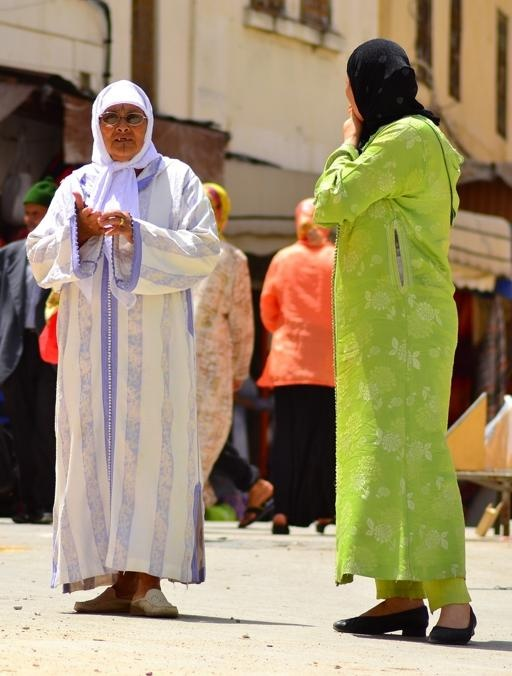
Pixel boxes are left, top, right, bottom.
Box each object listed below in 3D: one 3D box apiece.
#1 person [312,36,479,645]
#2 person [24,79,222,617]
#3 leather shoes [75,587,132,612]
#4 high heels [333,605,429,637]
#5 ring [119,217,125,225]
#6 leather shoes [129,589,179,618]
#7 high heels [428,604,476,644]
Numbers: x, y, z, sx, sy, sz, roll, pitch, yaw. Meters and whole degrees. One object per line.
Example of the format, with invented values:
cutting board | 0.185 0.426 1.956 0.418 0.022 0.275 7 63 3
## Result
person | 0.416 -0.018 4.276 0.536 1.274 0.399 3 -2 6
person | -0.450 0.018 4.576 0.632 1.676 0.579 -1 -5 17
leather shoes | -0.474 0.807 4.511 0.201 0.080 0.065 6 -13 -27
high heels | 0.376 0.840 4.329 0.287 0.113 0.100 5 -13 -5
ring | -0.422 -0.362 4.474 0.015 0.019 0.019 -1 -10 -6
leather shoes | -0.321 0.802 4.379 0.070 0.058 0.138 9 -15 -34
high heels | 0.578 0.810 4.086 0.172 0.071 0.100 4 -2 -30
